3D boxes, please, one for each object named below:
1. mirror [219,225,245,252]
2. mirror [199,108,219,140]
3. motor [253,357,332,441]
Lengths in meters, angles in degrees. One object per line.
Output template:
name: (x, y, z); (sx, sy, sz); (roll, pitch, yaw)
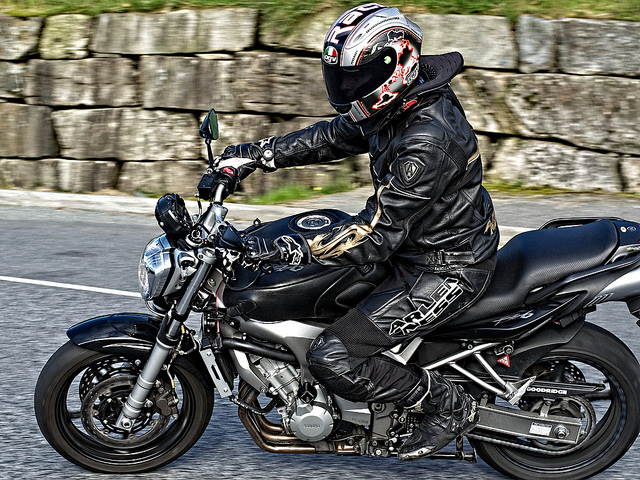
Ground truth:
mirror: (-0.464, -0.008, 4.307); (0.188, 0.107, 0.045); (19, -30, -14)
mirror: (-0.655, -0.695, 4.797); (0.113, 0.206, 0.463); (13, 11, -9)
motor: (-0.184, 0.920, 4.905); (0.443, 0.284, 0.699); (0, 23, -25)
